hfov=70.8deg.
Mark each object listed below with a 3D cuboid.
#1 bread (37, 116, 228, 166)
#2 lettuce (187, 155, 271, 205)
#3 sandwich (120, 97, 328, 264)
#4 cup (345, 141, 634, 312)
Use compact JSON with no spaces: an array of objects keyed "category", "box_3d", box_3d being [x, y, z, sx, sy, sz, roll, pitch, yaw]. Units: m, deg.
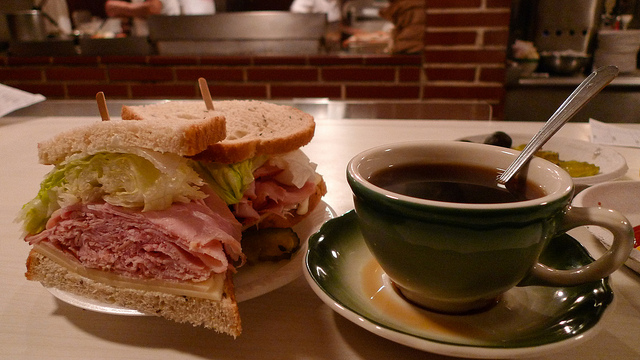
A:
[{"category":"bread","box_3d":[-0.415,-0.091,0.998,0.402,0.092,0.131,-4,31,-7]},{"category":"lettuce","box_3d":[-0.209,-0.005,1.121,0.145,0.049,0.146,20,23,36]},{"category":"sandwich","box_3d":[-0.169,-0.044,1.219,0.510,0.180,0.507,-12,27,-24]},{"category":"cup","box_3d":[0.329,0.089,0.961,0.532,0.274,0.285,-3,32,-5]}]
